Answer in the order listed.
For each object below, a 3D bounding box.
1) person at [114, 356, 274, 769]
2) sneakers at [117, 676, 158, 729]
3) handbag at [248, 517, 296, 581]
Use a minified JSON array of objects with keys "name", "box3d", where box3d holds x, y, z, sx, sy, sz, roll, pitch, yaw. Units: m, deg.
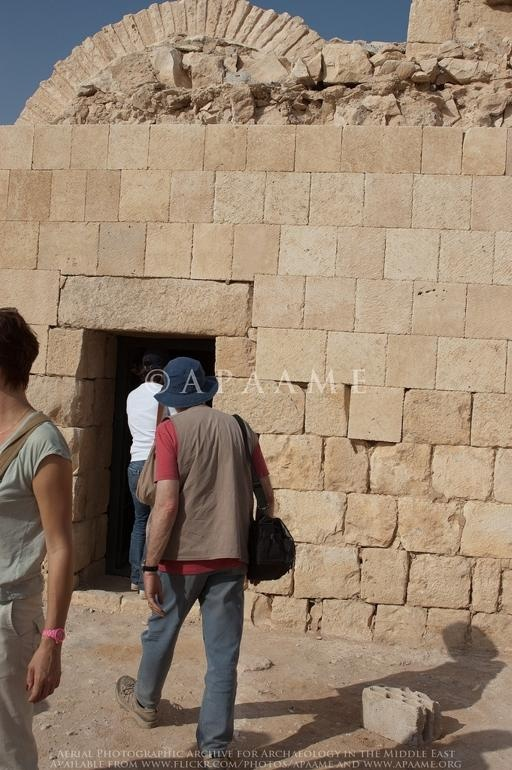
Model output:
[{"name":"person","box3d":[-0.266,0.776,3.828,0.502,1.759,0.597,2,6,-7]},{"name":"sneakers","box3d":[-0.602,1.506,4.163,0.122,0.129,0.324,7,16,-35]},{"name":"handbag","box3d":[0.031,0.718,3.822,0.250,0.319,0.273,1,-17,-4]}]
